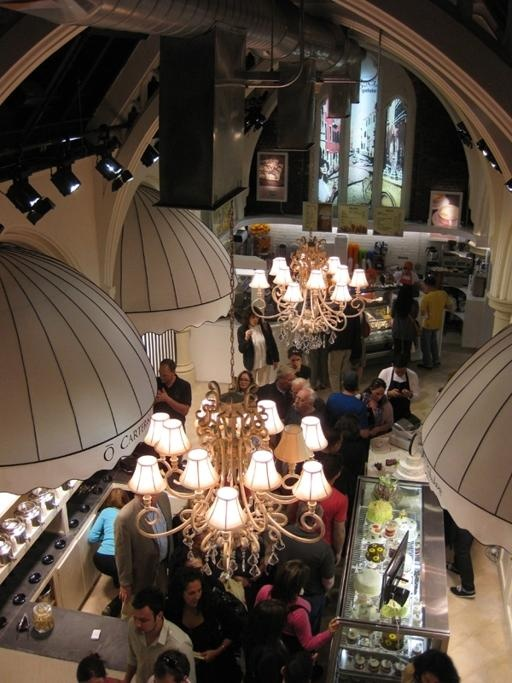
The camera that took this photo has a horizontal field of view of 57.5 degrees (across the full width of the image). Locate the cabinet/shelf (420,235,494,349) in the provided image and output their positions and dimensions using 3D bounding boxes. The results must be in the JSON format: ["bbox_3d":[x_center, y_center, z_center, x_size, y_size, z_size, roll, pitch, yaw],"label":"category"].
[{"bbox_3d":[4.824,-1.085,11.646,1.154,2.290,2.350,1,16,3],"label":"cabinet/shelf"}]

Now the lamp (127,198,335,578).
[{"bbox_3d":[-0.099,0.460,2.461,0.858,1.598,0.811,2,1,-3],"label":"lamp"}]

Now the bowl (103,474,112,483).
[{"bbox_3d":[-1.671,1.572,5.336,0.086,0.094,0.143,5,-23,-8],"label":"bowl"}]

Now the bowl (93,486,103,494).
[{"bbox_3d":[-1.749,1.656,5.180,0.067,0.054,0.071,1,22,-1],"label":"bowl"}]

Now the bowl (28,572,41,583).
[{"bbox_3d":[-1.960,2.092,4.126,0.112,0.055,0.090,2,9,3],"label":"bowl"}]

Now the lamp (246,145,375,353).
[{"bbox_3d":[0.682,-0.600,5.789,1.333,1.385,1.342,-2,6,-33],"label":"lamp"}]

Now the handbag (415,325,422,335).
[{"bbox_3d":[3.245,-0.213,9.334,0.047,0.219,0.146,3,4,-11],"label":"handbag"}]

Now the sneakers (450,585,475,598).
[{"bbox_3d":[2.225,2.708,5.035,0.238,0.104,0.103,11,28,29],"label":"sneakers"}]

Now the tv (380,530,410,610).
[{"bbox_3d":[1.050,1.830,3.462,0.121,0.347,0.382,5,-2,31],"label":"tv"}]

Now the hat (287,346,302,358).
[{"bbox_3d":[0.573,0.161,6.732,0.146,0.161,0.191,-2,-4,-5],"label":"hat"}]

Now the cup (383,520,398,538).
[{"bbox_3d":[1.173,1.632,4.084,0.116,0.125,0.087,2,6,23],"label":"cup"}]
